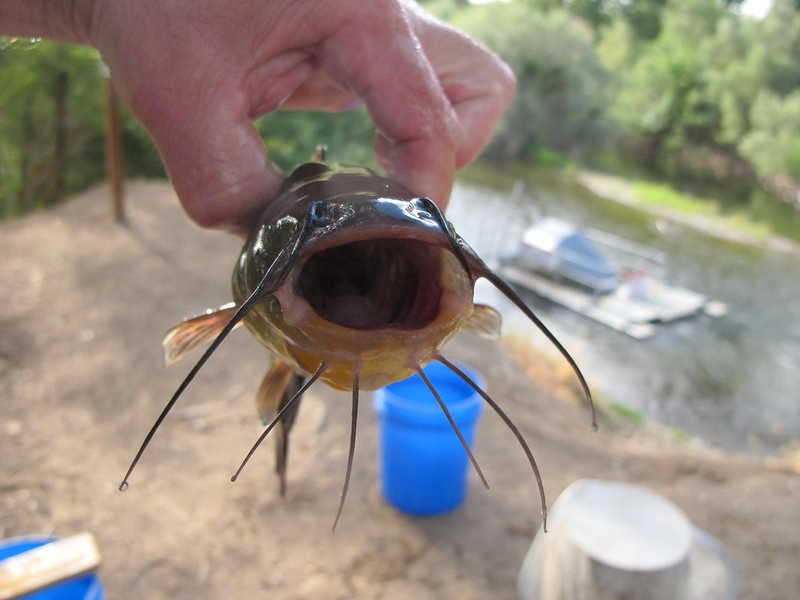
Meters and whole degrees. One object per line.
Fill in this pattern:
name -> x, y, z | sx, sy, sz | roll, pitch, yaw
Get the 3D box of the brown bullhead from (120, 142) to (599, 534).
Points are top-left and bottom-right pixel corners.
brown bullhead -> -0.240, 0.043, 3.992 | 1.340, 1.048, 0.886 | 24, 43, 10

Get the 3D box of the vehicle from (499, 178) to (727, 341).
vehicle -> 1.615, -0.215, 7.372 | 1.696, 0.429, 1.265 | 25, 33, 22

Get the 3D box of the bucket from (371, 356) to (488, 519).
bucket -> 0.130, 0.768, 5.813 | 0.885, 0.911, 0.858 | 1, 25, 0
